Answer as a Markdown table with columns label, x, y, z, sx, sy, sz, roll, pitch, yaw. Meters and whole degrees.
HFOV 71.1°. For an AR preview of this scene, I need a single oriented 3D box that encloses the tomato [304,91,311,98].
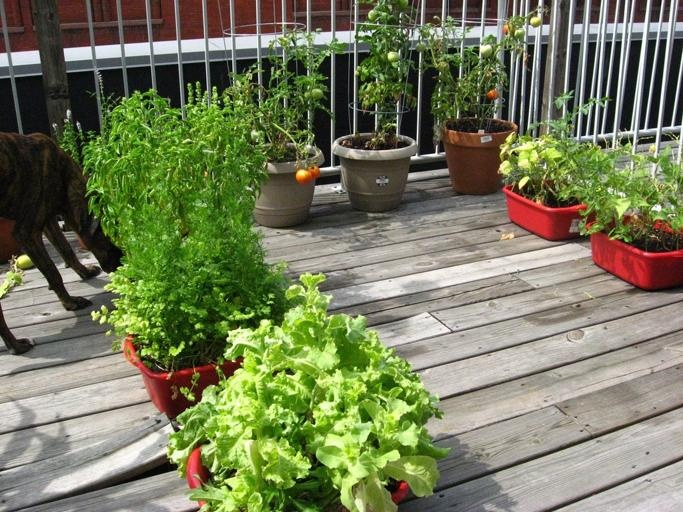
| label | x | y | z | sx | sy | sz | roll | pitch | yaw |
| --- | --- | --- | --- | --- | --- | --- | --- | --- | --- |
| tomato | -0.205 | -0.973 | 2.885 | 0.037 | 0.023 | 0.036 | 2 | 31 | 3 |

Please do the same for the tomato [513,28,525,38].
| label | x | y | z | sx | sy | sz | roll | pitch | yaw |
| --- | --- | --- | --- | --- | --- | --- | --- | --- | --- |
| tomato | 1.243 | -1.547 | 3.324 | 0.079 | 0.069 | 0.066 | -4 | 24 | -4 |

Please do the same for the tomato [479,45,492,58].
| label | x | y | z | sx | sy | sz | roll | pitch | yaw |
| --- | --- | --- | --- | --- | --- | --- | --- | --- | --- |
| tomato | 1.003 | -1.430 | 3.328 | 0.087 | 0.074 | 0.178 | 5 | 23 | 15 |

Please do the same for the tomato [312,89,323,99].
| label | x | y | z | sx | sy | sz | roll | pitch | yaw |
| --- | --- | --- | --- | --- | --- | --- | --- | --- | --- |
| tomato | -0.151 | -0.997 | 2.936 | 0.069 | 0.063 | 0.168 | -3 | 22 | -3 |

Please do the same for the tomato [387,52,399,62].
| label | x | y | z | sx | sy | sz | roll | pitch | yaw |
| --- | --- | --- | --- | --- | --- | --- | --- | --- | --- |
| tomato | 0.332 | -1.290 | 3.092 | 0.073 | 0.062 | 0.092 | 0 | 23 | 5 |

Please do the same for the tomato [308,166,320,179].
| label | x | y | z | sx | sy | sz | roll | pitch | yaw |
| --- | --- | --- | --- | --- | --- | --- | --- | --- | --- |
| tomato | -0.169 | -0.507 | 2.935 | 0.093 | 0.075 | 0.082 | 0 | -2 | -6 |

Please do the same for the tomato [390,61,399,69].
| label | x | y | z | sx | sy | sz | roll | pitch | yaw |
| --- | --- | --- | --- | --- | --- | --- | --- | --- | --- |
| tomato | 0.339 | -1.236 | 3.107 | 0.054 | 0.017 | 0.048 | -6 | 13 | -4 |

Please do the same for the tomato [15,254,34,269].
| label | x | y | z | sx | sy | sz | roll | pitch | yaw |
| --- | --- | --- | --- | --- | --- | --- | --- | --- | --- |
| tomato | -1.645 | 0.030 | 2.495 | 0.078 | 0.048 | 0.090 | 7 | -8 | -5 |
